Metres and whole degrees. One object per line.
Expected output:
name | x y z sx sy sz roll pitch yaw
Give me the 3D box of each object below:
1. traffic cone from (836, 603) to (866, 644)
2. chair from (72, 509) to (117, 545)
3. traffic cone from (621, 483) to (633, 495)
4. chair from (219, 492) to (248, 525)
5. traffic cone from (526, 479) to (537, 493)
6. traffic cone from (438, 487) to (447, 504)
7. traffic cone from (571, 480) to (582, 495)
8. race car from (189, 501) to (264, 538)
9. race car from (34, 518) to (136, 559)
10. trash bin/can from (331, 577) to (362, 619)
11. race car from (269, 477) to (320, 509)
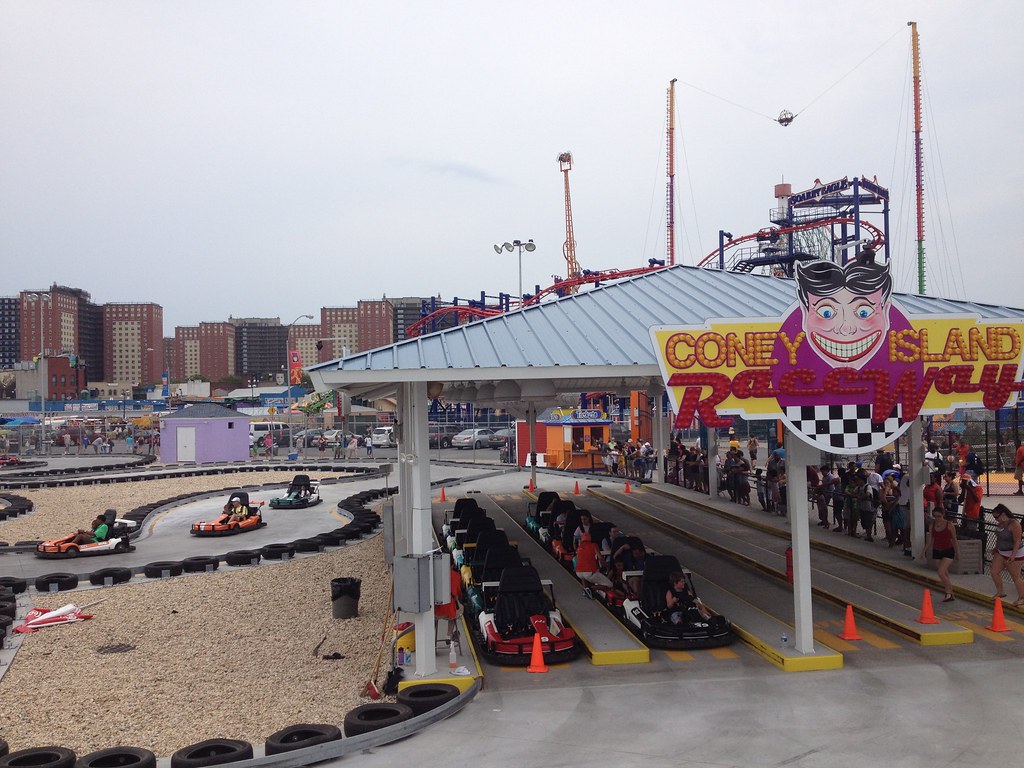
traffic cone | 6.013 4.322 18.829 0.582 0.748 0.535 -3 5 38
chair | -11.016 3.805 27.318 0.951 0.882 0.693 2 -14 -25
traffic cone | 4.224 3.824 38.258 0.359 0.495 0.380 -1 -7 -2
chair | -8.157 3.631 30.396 0.594 0.854 0.858 -1 -15 -1
traffic cone | 0.661 3.775 38.513 0.473 0.475 0.429 3 -1 5
traffic cone | -2.496 3.928 36.148 0.361 0.462 0.332 -4 -1 15
traffic cone | 2.420 3.917 38.518 0.438 0.571 0.391 -7 12 -9
race car | -8.187 4.053 30.028 1.096 0.550 2.212 1 6 26
race car | -11.189 3.872 27.118 1.424 1.077 2.473 2 0 38
trash bin/can | -3.416 4.341 21.107 0.708 0.705 0.684 0 -5 -10
race car | -7.457 3.862 36.253 0.882 0.704 1.590 -1 -9 9
